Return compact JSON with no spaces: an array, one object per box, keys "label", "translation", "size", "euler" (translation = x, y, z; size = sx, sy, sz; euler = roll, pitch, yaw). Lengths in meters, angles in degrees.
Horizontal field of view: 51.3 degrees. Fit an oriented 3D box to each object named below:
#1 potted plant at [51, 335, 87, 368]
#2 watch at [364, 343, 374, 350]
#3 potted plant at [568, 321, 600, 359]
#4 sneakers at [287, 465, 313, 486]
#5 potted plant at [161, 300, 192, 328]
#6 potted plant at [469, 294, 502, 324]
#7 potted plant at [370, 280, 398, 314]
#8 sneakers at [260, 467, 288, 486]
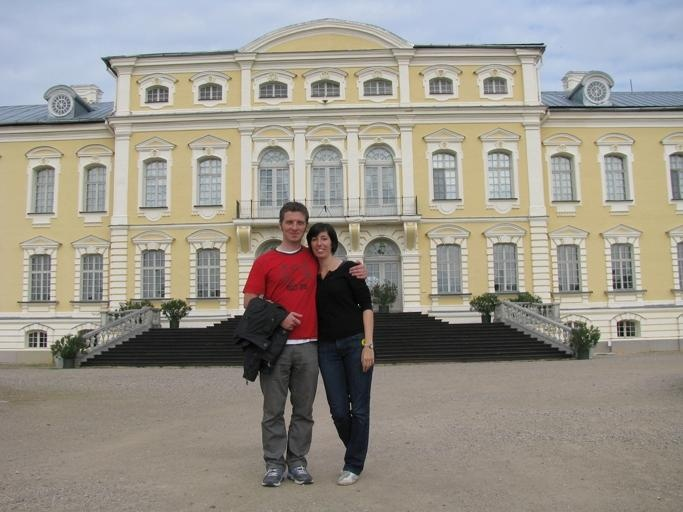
[{"label":"potted plant","translation":[-8.873,3.026,23.362],"size":[1.035,1.194,1.174],"euler":[1,-1,-16]},{"label":"watch","translation":[0.337,1.122,8.844],"size":[0.104,0.057,0.103],"euler":[1,0,32]},{"label":"potted plant","translation":[8.128,2.839,23.884],"size":[1.186,1.478,1.124],"euler":[5,-8,-5]},{"label":"sneakers","translation":[-0.513,2.692,8.771],"size":[0.329,0.216,0.204],"euler":[-1,-4,2]},{"label":"potted plant","translation":[-6.714,2.274,28.874],"size":[1.381,1.252,1.068],"euler":[2,-12,-7]},{"label":"potted plant","translation":[5.714,2.074,28.349],"size":[1.167,1.281,1.196],"euler":[2,-10,-4]},{"label":"potted plant","translation":[1.741,1.746,30.256],"size":[1.481,1.463,1.176],"euler":[1,-7,-4]},{"label":"sneakers","translation":[-0.781,2.694,8.717],"size":[0.194,0.222,0.400],"euler":[-5,-6,43]}]
